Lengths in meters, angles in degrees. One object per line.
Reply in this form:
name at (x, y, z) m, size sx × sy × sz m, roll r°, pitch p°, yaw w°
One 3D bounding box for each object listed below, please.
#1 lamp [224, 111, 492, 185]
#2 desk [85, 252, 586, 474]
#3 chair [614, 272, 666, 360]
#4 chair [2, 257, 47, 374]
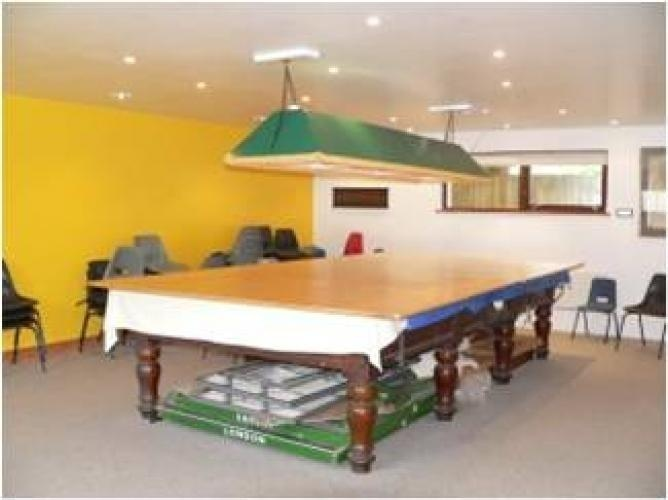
lamp at (0.376, -0.611, 3.383) m, size 0.688 × 0.238 × 1.776 m, roll -1°, pitch -1°, yaw 36°
desk at (0.192, 0.622, 3.256) m, size 2.977 × 0.904 × 1.772 m, roll -4°, pitch 8°, yaw -32°
chair at (2.698, 0.548, 4.277) m, size 0.369 × 0.760 × 1.133 m, roll 4°, pitch 8°, yaw 30°
chair at (-2.605, 0.545, 4.137) m, size 0.299 × 0.871 × 0.519 m, roll -4°, pitch 9°, yaw -31°
